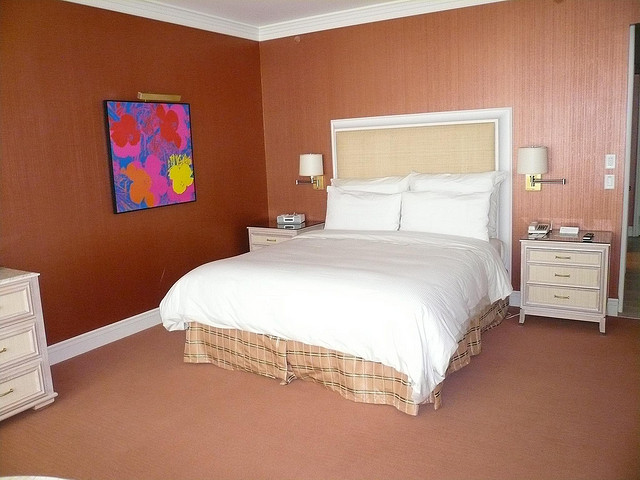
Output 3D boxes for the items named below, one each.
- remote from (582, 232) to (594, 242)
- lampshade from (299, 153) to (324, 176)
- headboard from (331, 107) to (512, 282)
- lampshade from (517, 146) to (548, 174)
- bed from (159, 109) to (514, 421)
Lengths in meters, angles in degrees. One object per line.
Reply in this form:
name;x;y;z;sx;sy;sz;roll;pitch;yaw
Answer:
remote;2.660;-0.034;4.450;0.082;0.054;0.168;3;11;33
lampshade;-0.110;-0.984;5.896;0.271;0.315;0.274;9;14;41
headboard;1.189;-0.492;4.909;1.978;2.163;0.074;1;4;30
lampshade;2.221;-0.812;4.692;0.270;0.316;0.284;2;6;30
bed;0.391;-0.134;4.593;2.895;2.371;2.770;6;13;28
